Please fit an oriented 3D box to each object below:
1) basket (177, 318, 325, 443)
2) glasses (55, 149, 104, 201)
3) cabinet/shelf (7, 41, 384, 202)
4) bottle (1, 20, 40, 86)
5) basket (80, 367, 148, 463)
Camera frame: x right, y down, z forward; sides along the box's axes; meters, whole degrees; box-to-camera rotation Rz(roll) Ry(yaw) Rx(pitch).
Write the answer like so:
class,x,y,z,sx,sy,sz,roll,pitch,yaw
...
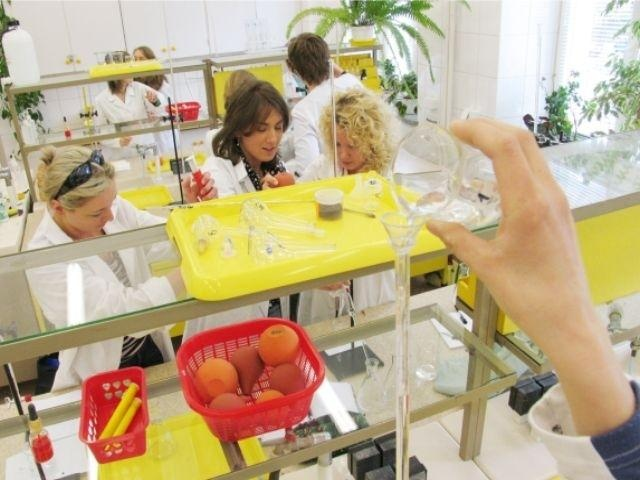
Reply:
class,x,y,z,sx,sy,sz,roll,pitch,yaw
basket,-0.170,0.370,1.206,0.337,0.232,0.314,-15,22,-19
glasses,-0.878,-0.243,1.725,0.159,0.052,0.160,-37,13,32
cabinet/shelf,-0.923,-0.872,3.328,2.306,1.032,0.321,-19,34,-11
bottle,-2.205,-1.376,3.449,0.187,0.455,0.380,-15,22,-22
basket,-0.512,0.431,1.188,0.165,0.110,0.239,-5,41,-14
